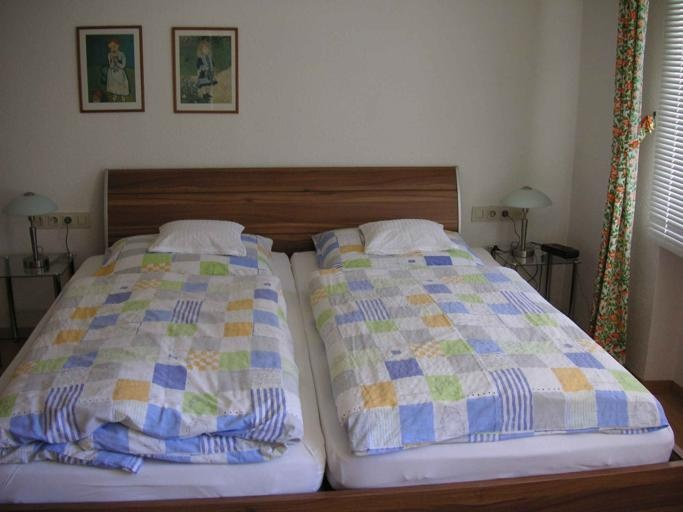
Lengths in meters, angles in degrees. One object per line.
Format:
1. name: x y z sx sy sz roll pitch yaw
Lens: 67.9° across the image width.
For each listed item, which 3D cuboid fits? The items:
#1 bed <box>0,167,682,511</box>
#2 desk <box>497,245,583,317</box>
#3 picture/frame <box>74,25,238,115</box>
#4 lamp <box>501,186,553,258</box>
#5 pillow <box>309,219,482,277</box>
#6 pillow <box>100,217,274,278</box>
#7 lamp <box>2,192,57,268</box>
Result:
1. bed: 0.201 0.234 3.044 3.817 1.638 2.182 -2 7 -4
2. desk: 1.607 0.045 4.261 0.540 0.745 0.750 0 14 -4
3. picture/frame: -1.345 -1.365 3.743 1.168 0.598 0.047 -1 8 -4
4. lamp: 1.476 -0.287 4.101 0.352 0.558 0.359 13 25 32
5. pillow: 0.385 -0.073 3.647 0.752 0.221 0.531 -5 24 -10
6. pillow: -1.055 -0.024 3.435 0.675 0.177 0.602 -1 27 -8
7. lamp: -2.318 -0.203 3.749 0.344 0.574 0.356 8 23 -6
